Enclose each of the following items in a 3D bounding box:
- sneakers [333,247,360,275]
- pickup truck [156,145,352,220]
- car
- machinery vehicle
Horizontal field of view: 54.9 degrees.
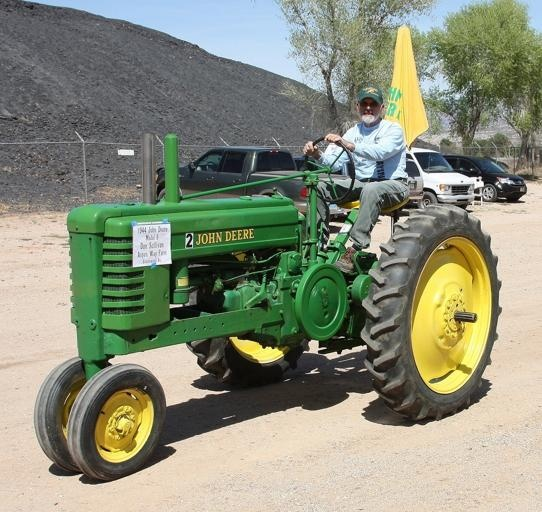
[{"bbox_3d":[0.581,0.045,3.965,0.121,0.168,0.313,8,0,42],"label":"sneakers"},{"bbox_3d":[-0.567,-1.916,13.917,5.278,1.560,2.275,13,15,35],"label":"pickup truck"},{"bbox_3d":[9.356,-3.226,21.544,3.969,1.341,1.945,6,8,44],"label":"car"},{"bbox_3d":[-0.066,0.289,3.688,2.765,1.354,2.321,-3,4,-41],"label":"machinery vehicle"}]
